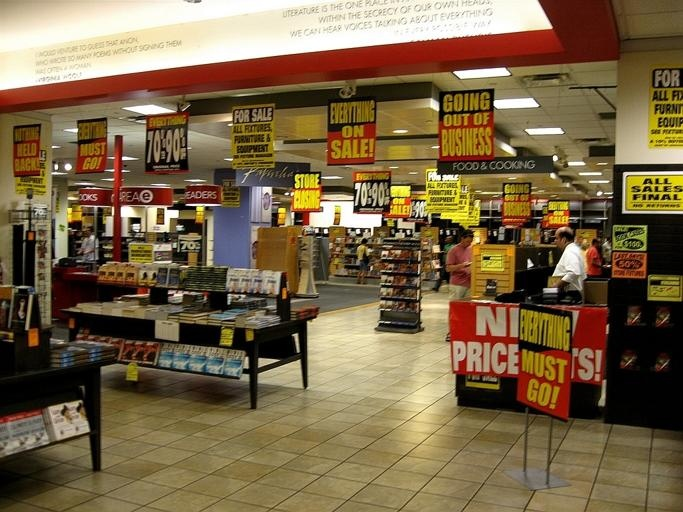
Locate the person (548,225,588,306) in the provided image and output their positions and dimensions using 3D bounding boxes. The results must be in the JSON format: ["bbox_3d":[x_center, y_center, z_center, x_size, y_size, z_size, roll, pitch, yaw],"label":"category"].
[{"bbox_3d":[3.103,0.102,7.078,0.464,0.997,1.907,3,4,22],"label":"person"}]

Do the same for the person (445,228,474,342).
[{"bbox_3d":[2.114,0.155,9.364,0.442,1.248,0.672,2,4,10],"label":"person"}]

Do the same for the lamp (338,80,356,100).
[{"bbox_3d":[0.101,-2.653,8.292,0.224,0.393,0.454,2,3,5],"label":"lamp"}]
